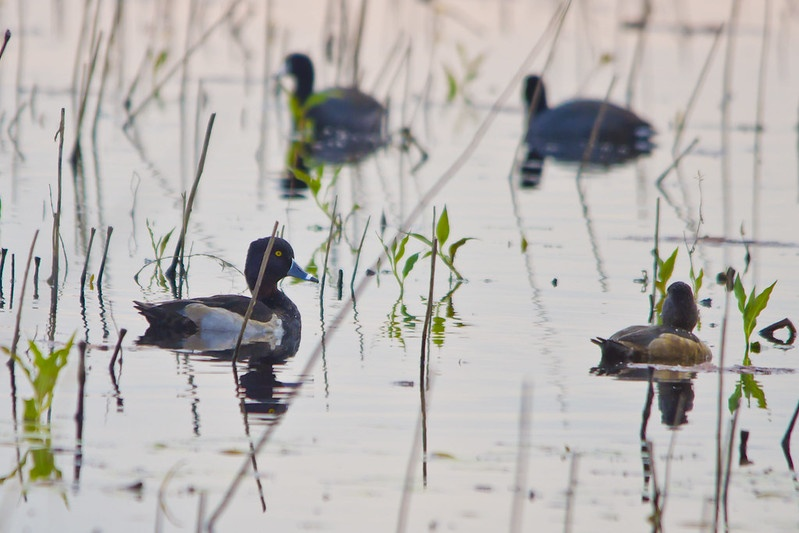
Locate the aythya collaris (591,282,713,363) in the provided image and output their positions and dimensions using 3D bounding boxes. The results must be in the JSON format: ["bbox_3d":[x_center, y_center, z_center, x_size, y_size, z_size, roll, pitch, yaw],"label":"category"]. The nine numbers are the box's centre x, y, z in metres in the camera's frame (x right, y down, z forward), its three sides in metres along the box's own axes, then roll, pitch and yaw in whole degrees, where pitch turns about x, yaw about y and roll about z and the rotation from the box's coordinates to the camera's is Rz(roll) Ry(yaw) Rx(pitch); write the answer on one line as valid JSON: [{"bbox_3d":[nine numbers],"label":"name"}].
[{"bbox_3d":[2.368,0.573,10.255,1.359,0.840,0.798,5,-6,-28],"label":"aythya collaris"}]
